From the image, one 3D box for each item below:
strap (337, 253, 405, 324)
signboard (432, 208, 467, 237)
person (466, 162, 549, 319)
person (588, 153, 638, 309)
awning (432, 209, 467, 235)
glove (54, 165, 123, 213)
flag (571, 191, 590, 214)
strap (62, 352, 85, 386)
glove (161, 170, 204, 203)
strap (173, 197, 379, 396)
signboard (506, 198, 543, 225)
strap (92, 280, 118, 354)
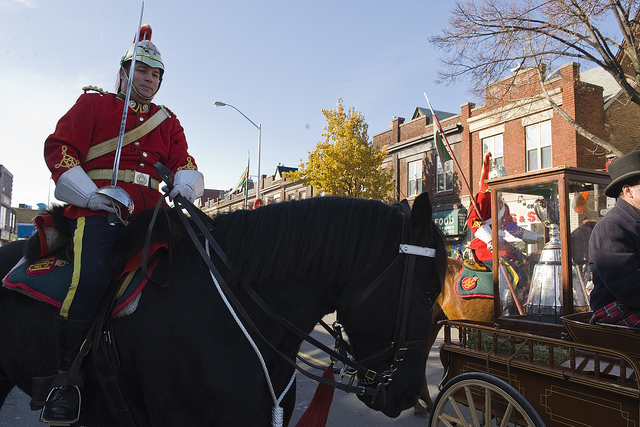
[{"bbox_3d":[0.417,0.582,3.766,0.742,0.103,0.075,-43,8,-9],"label":"strap"},{"bbox_3d":[6.007,0.378,22.661,0.644,1.399,2.192,1,-3,-20],"label":"signboard"},{"bbox_3d":[2.312,0.415,6.317,0.910,2.033,0.655,0,-5,-23],"label":"person"},{"bbox_3d":[2.992,0.171,4.990,0.435,1.547,0.812,-2,-4,32],"label":"person"},{"bbox_3d":[5.820,0.308,22.627,0.664,1.311,2.075,3,-1,-31],"label":"awning"},{"bbox_3d":[-1.916,-0.197,4.022,0.416,0.253,0.194,26,-30,-1],"label":"glove"},{"bbox_3d":[2.985,-0.134,5.594,0.305,0.268,0.060,3,-5,-36],"label":"flag"},{"bbox_3d":[-1.949,1.249,3.883,0.072,0.251,0.174,26,-13,-28],"label":"strap"},{"bbox_3d":[-1.205,-0.342,4.455,0.352,0.183,0.358,4,-2,-23],"label":"glove"},{"bbox_3d":[-0.344,0.647,3.828,0.244,1.786,0.149,-28,-12,-19],"label":"strap"},{"bbox_3d":[2.609,-0.060,6.094,0.498,0.366,0.281,3,10,42],"label":"signboard"},{"bbox_3d":[-1.725,0.824,3.934,0.137,0.557,0.139,6,2,15],"label":"strap"}]
